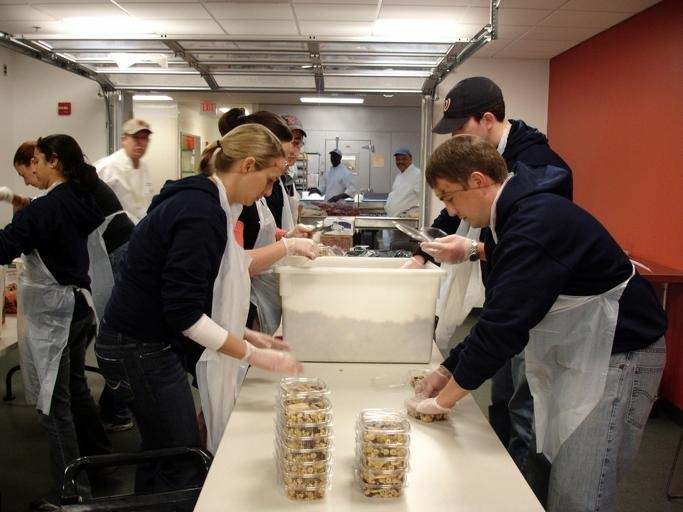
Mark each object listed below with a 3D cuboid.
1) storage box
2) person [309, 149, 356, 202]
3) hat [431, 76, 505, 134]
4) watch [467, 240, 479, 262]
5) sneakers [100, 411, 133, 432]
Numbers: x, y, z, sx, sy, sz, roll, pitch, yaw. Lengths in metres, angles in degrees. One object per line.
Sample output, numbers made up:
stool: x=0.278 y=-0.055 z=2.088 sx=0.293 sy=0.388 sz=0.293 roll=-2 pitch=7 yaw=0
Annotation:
storage box: x=0.085 y=0.185 z=2.271 sx=0.508 sy=0.298 sz=0.513 roll=0 pitch=2 yaw=1
person: x=-0.074 y=-1.469 z=8.812 sx=0.699 sy=0.893 sz=1.953 roll=5 pitch=10 yaw=-1
hat: x=0.590 y=-0.694 z=2.291 sx=0.337 sy=0.190 sz=0.233 roll=-21 pitch=25 yaw=-1
watch: x=0.599 y=-0.018 z=2.196 sx=0.054 sy=0.085 sz=0.081 roll=0 pitch=23 yaw=9
sneakers: x=-1.646 y=1.221 z=3.561 sx=0.244 sy=0.118 sz=0.099 roll=8 pitch=0 yaw=-11
